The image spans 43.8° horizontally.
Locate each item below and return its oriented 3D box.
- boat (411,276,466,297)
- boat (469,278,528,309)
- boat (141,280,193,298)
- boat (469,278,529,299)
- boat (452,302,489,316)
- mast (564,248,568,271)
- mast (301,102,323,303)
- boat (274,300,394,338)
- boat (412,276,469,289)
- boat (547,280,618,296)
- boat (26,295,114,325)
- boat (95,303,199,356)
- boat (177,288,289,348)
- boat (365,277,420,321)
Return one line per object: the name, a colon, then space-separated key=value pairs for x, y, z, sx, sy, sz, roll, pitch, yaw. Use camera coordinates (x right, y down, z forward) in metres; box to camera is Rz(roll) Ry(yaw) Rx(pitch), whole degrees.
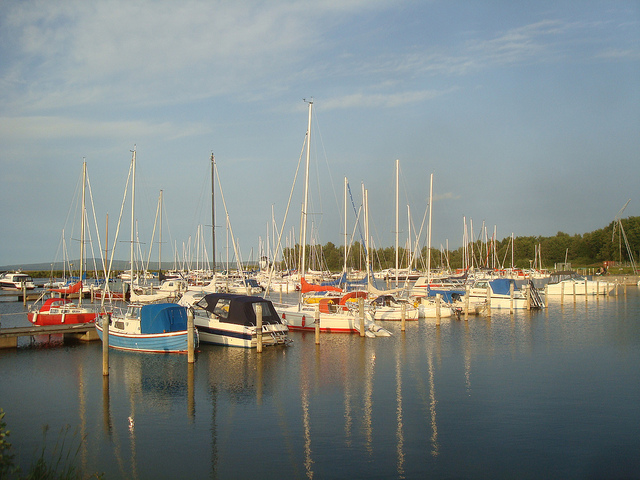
boat: x=10.454 y=4.421 z=72.191 sx=5.658 sy=2.181 sz=1.983 roll=-1 pitch=1 yaw=12
boat: x=15.694 y=4.511 z=70.843 sx=3.927 sy=2.732 sz=7.052 roll=-5 pitch=3 yaw=-33
boat: x=-12.597 y=4.056 z=66.172 sx=1.818 sy=1.652 sz=6.153 roll=5 pitch=-3 yaw=-44
boat: x=15.609 y=4.238 z=69.125 sx=4.607 sy=1.667 sz=2.688 roll=-2 pitch=0 yaw=14
boat: x=12.172 y=5.539 z=64.209 sx=3.543 sy=1.186 sz=1.186 roll=1 pitch=-4 yaw=-1
mast: x=52.418 y=4.185 z=169.920 sx=1.044 sy=6.202 sz=1.119 roll=0 pitch=-27 yaw=18
mast: x=-0.774 y=0.671 z=67.703 sx=1.407 sy=16.277 sz=1.814 roll=1 pitch=1 yaw=-14
boat: x=0.755 y=5.340 z=54.419 sx=7.561 sy=1.961 sz=3.069 roll=1 pitch=-3 yaw=31
boat: x=10.618 y=3.983 z=72.621 sx=3.218 sy=0.865 sz=2.536 roll=-1 pitch=-3 yaw=19
boat: x=26.787 y=4.935 z=82.227 sx=6.339 sy=1.675 sz=1.716 roll=0 pitch=0 yaw=8
boat: x=-18.192 y=5.107 z=57.935 sx=5.000 sy=1.848 sz=2.044 roll=-2 pitch=-1 yaw=14
boat: x=-10.760 y=5.363 z=48.730 sx=8.433 sy=3.060 sz=2.752 roll=2 pitch=0 yaw=32
boat: x=-5.854 y=4.867 z=50.095 sx=6.631 sy=2.254 sz=3.039 roll=0 pitch=0 yaw=36
boat: x=4.500 y=4.626 z=60.314 sx=6.088 sy=2.884 sz=2.105 roll=4 pitch=18 yaw=6
